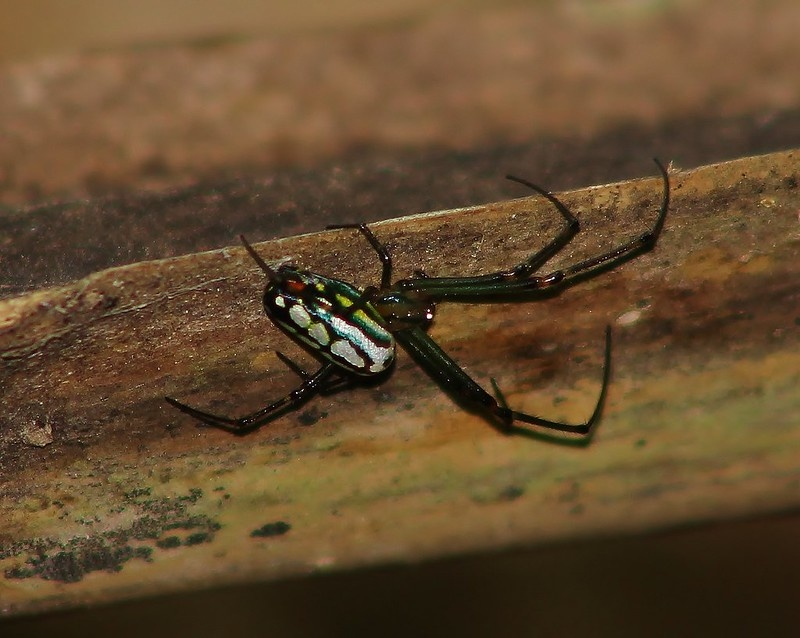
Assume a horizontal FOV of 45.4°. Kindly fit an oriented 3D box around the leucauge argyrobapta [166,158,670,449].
[{"bbox_3d":[-0.074,0.016,5.789,3.778,1.169,0.728,2,12,-2],"label":"leucauge argyrobapta"}]
